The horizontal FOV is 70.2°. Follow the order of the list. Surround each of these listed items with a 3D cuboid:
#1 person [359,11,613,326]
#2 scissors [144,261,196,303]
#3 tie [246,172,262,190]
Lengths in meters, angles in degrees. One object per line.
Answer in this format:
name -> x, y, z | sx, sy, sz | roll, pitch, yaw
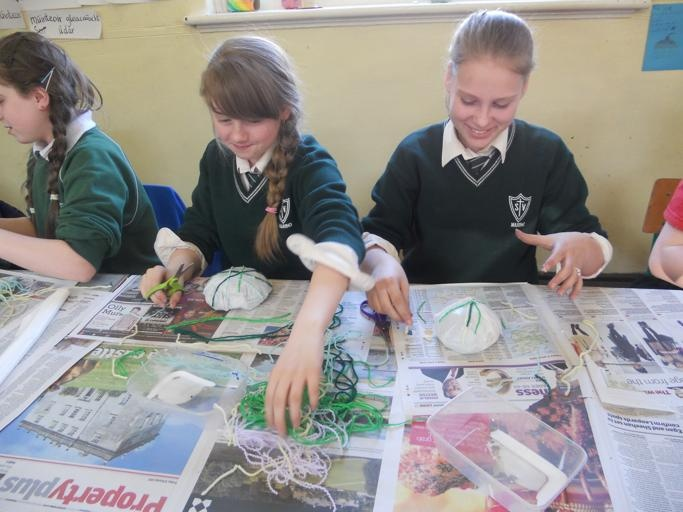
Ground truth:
person -> 0.436, -0.199, 1.503 | 0.707, 1.003, 0.608 | 1, 42, 12
scissors -> -0.476, 0.076, 1.357 | 0.019, 0.048, 0.118 | -40, -4, 24
tie -> -0.261, -0.228, 1.505 | 0.050, 0.052, 0.020 | 7, 15, 24
